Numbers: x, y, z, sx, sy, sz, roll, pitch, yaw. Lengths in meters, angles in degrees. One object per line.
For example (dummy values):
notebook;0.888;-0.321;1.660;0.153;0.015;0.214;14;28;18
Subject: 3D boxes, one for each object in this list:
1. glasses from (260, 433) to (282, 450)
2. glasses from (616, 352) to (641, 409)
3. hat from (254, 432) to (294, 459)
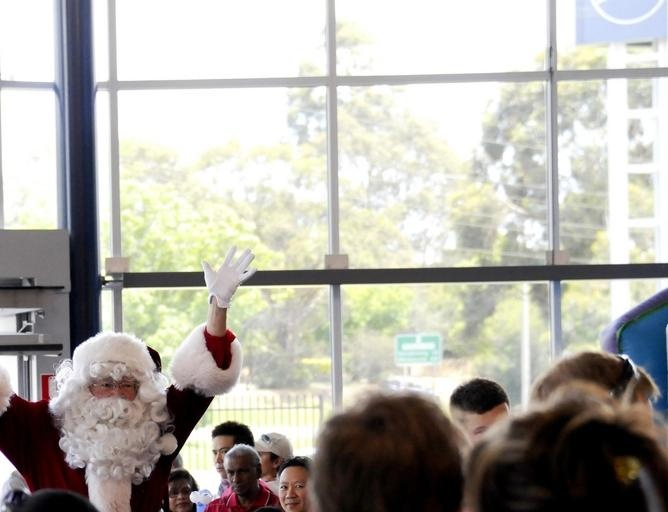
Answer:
glasses;-0.403;1.199;13.792;0.082;0.036;0.121;16;15;34
glasses;1.645;0.693;12.085;0.094;0.210;0.172;9;-9;-17
hat;-0.373;1.224;13.794;0.219;0.103;0.148;24;-4;-11
